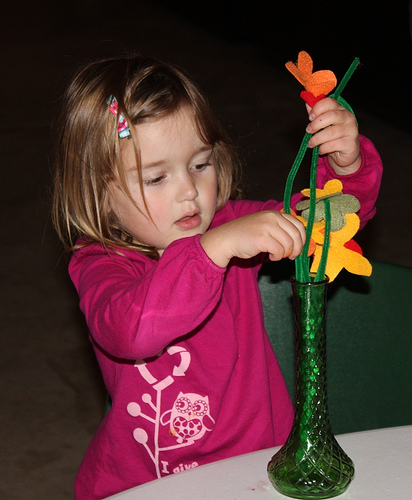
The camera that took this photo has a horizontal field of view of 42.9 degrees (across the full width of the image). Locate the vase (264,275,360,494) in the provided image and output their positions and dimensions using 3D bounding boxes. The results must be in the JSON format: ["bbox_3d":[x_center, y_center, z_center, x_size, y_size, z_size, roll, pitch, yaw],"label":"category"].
[{"bbox_3d":[0.101,0.134,0.529,0.096,0.209,0.062,-5,5,7],"label":"vase"}]

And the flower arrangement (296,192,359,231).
[{"bbox_3d":[0.129,-0.040,0.559,0.064,0.041,0.050,-3,5,22],"label":"flower arrangement"}]
